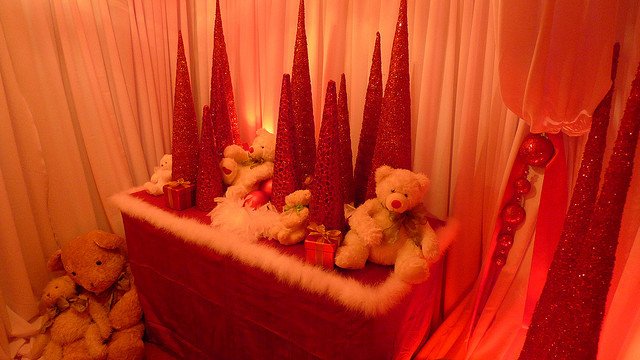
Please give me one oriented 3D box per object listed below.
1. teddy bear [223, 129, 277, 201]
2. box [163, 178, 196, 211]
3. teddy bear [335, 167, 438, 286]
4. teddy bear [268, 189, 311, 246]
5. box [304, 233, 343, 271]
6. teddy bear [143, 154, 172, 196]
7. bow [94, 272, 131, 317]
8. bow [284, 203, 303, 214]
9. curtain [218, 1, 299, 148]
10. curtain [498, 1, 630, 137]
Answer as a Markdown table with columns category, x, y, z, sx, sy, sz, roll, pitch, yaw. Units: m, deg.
| category | x | y | z | sx | sy | sz | roll | pitch | yaw |
| --- | --- | --- | --- | --- | --- | --- | --- | --- | --- |
| teddy bear | -0.360 | -0.069 | 2.089 | 0.281 | 0.373 | 0.282 | 10 | 5 | 11 |
| box | -0.684 | 0.076 | 2.151 | 0.155 | 0.159 | 0.157 | 15 | 21 | 31 |
| teddy bear | 0.298 | 0.190 | 1.823 | 0.449 | 0.434 | 0.325 | 9 | 19 | 5 |
| teddy bear | -0.119 | 0.175 | 1.917 | 0.176 | 0.232 | 0.113 | 21 | 15 | 10 |
| box | 0.020 | 0.296 | 1.869 | 0.148 | 0.128 | 0.147 | 8 | 14 | 18 |
| teddy bear | -0.831 | -0.037 | 2.222 | 0.132 | 0.209 | 0.177 | 13 | 16 | 31 |
| bow | -1.089 | 0.590 | 2.201 | 0.146 | 0.226 | 0.054 | 34 | -1 | 4 |
| bow | -0.115 | 0.126 | 1.863 | 0.053 | 0.052 | 0.016 | -8 | -8 | 32 |
| curtain | -0.371 | -0.603 | 2.399 | 0.515 | 0.768 | 0.211 | 16 | 29 | 33 |
| curtain | 0.900 | -0.441 | 1.664 | 0.433 | 0.500 | 0.176 | 7 | 25 | 18 |
